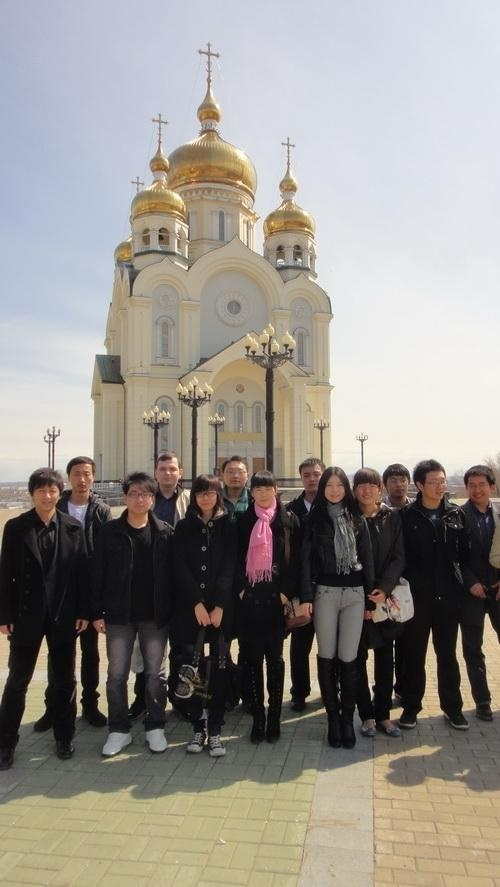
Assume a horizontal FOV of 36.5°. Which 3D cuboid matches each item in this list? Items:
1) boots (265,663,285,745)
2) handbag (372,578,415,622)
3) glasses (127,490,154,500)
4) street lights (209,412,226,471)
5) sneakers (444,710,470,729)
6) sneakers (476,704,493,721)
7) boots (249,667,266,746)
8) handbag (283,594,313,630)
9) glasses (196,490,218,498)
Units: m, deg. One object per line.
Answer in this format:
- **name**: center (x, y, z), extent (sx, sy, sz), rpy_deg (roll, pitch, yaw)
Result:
- **boots**: center (0.164, 1.672, 5.011), extent (0.120, 0.362, 0.284), rpy_deg (0, 0, 2)
- **handbag**: center (0.978, 1.053, 5.246), extent (0.311, 0.436, 0.235), rpy_deg (-1, -10, -4)
- **glasses**: center (-0.743, 0.347, 5.099), extent (0.173, 0.042, 0.077), rpy_deg (-1, 0, -18)
- **street lights**: center (-1.287, 0.130, 28.807), extent (0.602, 2.401, 0.610), rpy_deg (-2, -4, 8)
- **sneakers**: center (1.398, 1.850, 5.082), extent (0.069, 0.081, 0.198), rpy_deg (2, -12, -9)
- **sneakers**: center (1.623, 1.839, 5.217), extent (0.106, 0.089, 0.134), rpy_deg (0, 0, 19)
- **boots**: center (0.050, 1.692, 5.014), extent (0.099, 0.357, 0.257), rpy_deg (0, 0, 0)
- **handbag**: center (0.317, 1.108, 5.078), extent (0.238, 0.262, 0.138), rpy_deg (-9, -20, 10)
- **glasses**: center (-0.290, 0.344, 5.144), extent (0.140, 0.047, 0.053), rpy_deg (-1, 0, -10)
